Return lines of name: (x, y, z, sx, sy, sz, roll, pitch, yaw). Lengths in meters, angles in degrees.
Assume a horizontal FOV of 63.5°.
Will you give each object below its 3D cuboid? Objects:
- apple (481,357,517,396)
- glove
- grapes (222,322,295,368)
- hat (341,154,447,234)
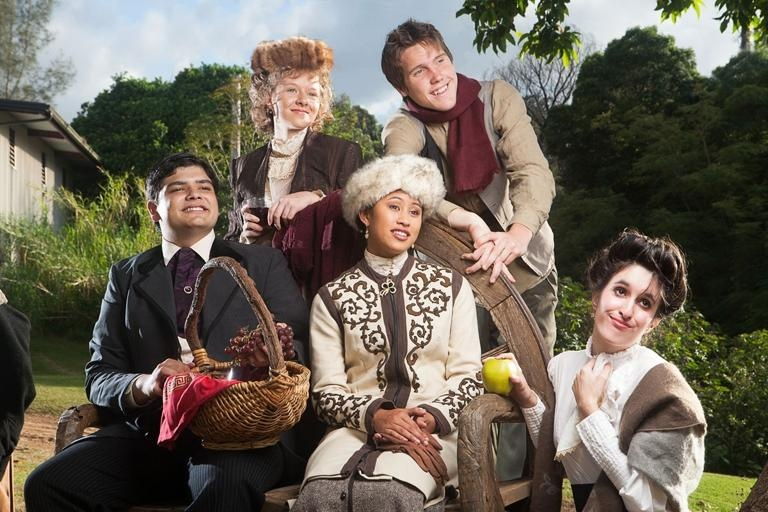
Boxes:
apple: (0.577, 0.639, 3.283, 0.160, 0.176, 0.162, 1, -16, -19)
glove: (0.146, 1.014, 3.135, 0.333, 0.221, 0.101, 8, -18, 2)
grapes: (-0.633, 0.454, 3.181, 0.323, 0.231, 0.234, -1, -2, -4)
hat: (0.051, -0.355, 3.555, 0.399, 0.231, 0.468, -13, -9, -21)
